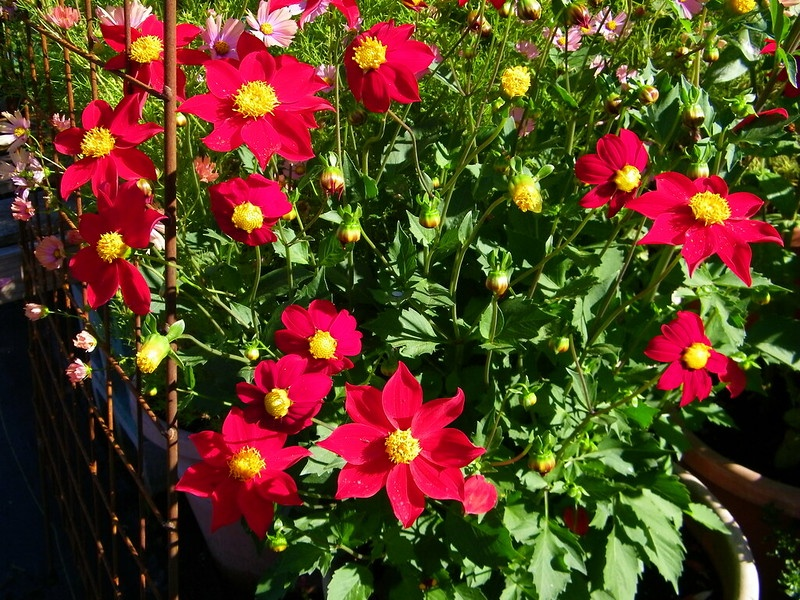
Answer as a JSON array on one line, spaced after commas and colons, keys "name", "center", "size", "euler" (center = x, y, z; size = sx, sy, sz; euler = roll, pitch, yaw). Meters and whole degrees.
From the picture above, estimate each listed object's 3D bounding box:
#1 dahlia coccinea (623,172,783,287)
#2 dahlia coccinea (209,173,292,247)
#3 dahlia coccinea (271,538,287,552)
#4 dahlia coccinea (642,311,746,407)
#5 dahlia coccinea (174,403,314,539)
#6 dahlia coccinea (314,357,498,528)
[{"name": "dahlia coccinea", "center": [0.416, -0.101, 0.928], "size": [0.213, 0.157, 0.109], "euler": [1, 5, -23]}, {"name": "dahlia coccinea", "center": [-0.230, -0.125, 1.005], "size": [0.100, 0.118, 0.051], "euler": [17, 30, -28]}, {"name": "dahlia coccinea", "center": [-0.203, 0.408, 1.107], "size": [0.026, 0.031, 0.009], "euler": [-4, 7, -9]}, {"name": "dahlia coccinea", "center": [0.449, 0.090, 1.035], "size": [0.122, 0.055, 0.144], "euler": [-5, 58, 4]}, {"name": "dahlia coccinea", "center": [-0.230, 0.244, 0.973], "size": [0.189, 0.063, 0.191], "euler": [20, 44, 11]}, {"name": "dahlia coccinea", "center": [0.007, 0.206, 0.920], "size": [0.210, 0.071, 0.272], "euler": [9, 40, -7]}]
